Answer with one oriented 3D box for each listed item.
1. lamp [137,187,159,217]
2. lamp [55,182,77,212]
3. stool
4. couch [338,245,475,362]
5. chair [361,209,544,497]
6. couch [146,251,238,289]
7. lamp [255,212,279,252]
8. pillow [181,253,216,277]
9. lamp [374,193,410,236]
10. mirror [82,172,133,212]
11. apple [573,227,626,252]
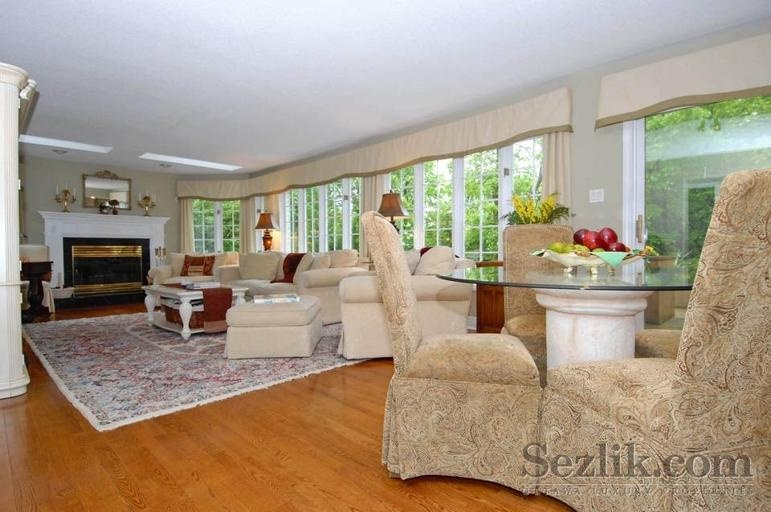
[{"bbox_3d":[-4.420,-0.977,9.298,0.348,0.444,0.190,-3,3,-31],"label":"lamp"},{"bbox_3d":[-5.387,-0.958,8.391,0.259,0.435,0.379,-2,3,-17],"label":"lamp"},{"bbox_3d":[-0.867,0.706,4.817,1.220,0.451,1.101,-1,-5,-12],"label":"stool"},{"bbox_3d":[0.165,0.443,4.674,1.232,0.739,1.113,1,-7,-11],"label":"couch"},{"bbox_3d":[0.211,0.571,3.177,1.407,1.405,1.188,8,-8,-1],"label":"chair"},{"bbox_3d":[-2.837,0.271,7.566,1.336,0.579,0.600,-1,6,13],"label":"couch"},{"bbox_3d":[-2.106,-0.445,8.906,0.334,0.697,0.809,-2,2,-12],"label":"lamp"},{"bbox_3d":[-2.862,0.141,7.649,0.496,0.309,0.279,-1,2,-8],"label":"pillow"},{"bbox_3d":[0.098,-0.495,6.409,0.531,0.566,0.468,-5,4,-31],"label":"lamp"},{"bbox_3d":[-4.968,-1.143,8.865,0.898,0.749,0.063,-1,-2,-45],"label":"mirror"},{"bbox_3d":[1.325,-0.115,3.087,0.222,0.083,0.221,-2,13,-45],"label":"apple"}]
